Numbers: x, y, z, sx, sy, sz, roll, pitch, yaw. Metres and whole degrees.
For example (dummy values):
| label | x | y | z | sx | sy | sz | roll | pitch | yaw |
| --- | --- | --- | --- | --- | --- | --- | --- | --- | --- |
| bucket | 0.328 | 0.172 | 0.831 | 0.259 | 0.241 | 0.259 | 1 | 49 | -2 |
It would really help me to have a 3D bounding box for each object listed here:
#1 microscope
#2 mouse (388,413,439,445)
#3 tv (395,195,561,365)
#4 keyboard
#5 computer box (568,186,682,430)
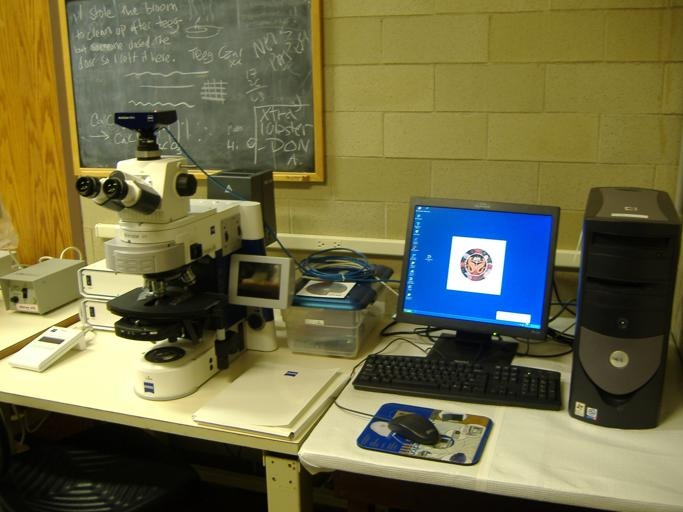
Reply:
| label | x | y | z | sx | sy | sz | roll | pitch | yaw |
| --- | --- | --- | --- | --- | --- | --- | --- | --- | --- |
| microscope | -0.570 | -0.013 | 1.970 | 0.438 | 0.913 | 0.717 | 5 | 14 | 19 |
| mouse | 0.218 | 0.499 | 1.632 | 0.110 | 0.030 | 0.076 | 18 | 21 | 31 |
| tv | 0.485 | 0.102 | 2.008 | 0.624 | 0.569 | 0.218 | 5 | 13 | 19 |
| keyboard | 0.369 | 0.411 | 1.877 | 0.672 | 0.056 | 0.229 | 1 | 18 | 22 |
| computer box | 0.789 | 0.145 | 1.742 | 0.315 | 0.677 | 0.320 | 4 | 16 | 18 |
